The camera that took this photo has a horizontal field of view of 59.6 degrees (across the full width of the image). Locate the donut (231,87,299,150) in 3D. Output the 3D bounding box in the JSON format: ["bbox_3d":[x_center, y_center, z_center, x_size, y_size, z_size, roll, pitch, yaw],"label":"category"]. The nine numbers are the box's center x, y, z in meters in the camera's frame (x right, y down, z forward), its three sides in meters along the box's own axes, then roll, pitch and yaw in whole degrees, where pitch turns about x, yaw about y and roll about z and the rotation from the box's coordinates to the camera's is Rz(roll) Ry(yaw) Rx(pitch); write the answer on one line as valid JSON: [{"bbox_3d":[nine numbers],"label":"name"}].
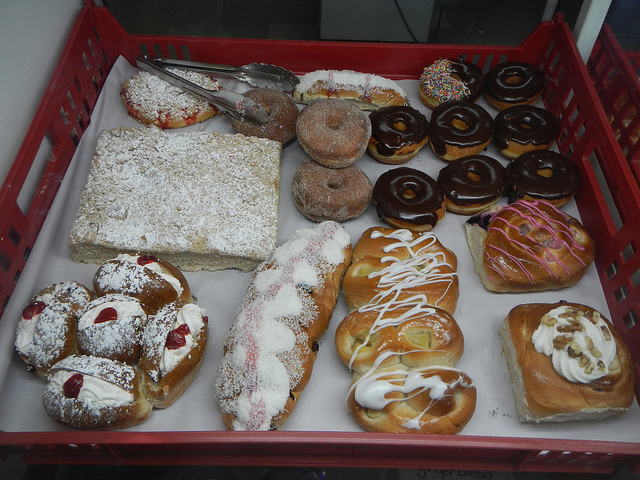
[{"bbox_3d":[-0.342,-0.821,3.608,0.390,0.203,0.397,-34,70,-18],"label":"donut"}]

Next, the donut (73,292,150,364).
[{"bbox_3d":[-1.070,0.465,2.826,0.335,0.155,0.450,-4,33,-2],"label":"donut"}]

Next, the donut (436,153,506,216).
[{"bbox_3d":[0.971,-0.357,3.511,0.412,0.181,0.481,20,50,25],"label":"donut"}]

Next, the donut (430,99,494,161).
[{"bbox_3d":[0.927,-0.741,3.720,0.459,0.188,0.518,14,50,12],"label":"donut"}]

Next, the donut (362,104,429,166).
[{"bbox_3d":[0.505,-0.675,3.661,0.409,0.214,0.380,16,62,5],"label":"donut"}]

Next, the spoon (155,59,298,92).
[{"bbox_3d":[-0.617,-1.200,3.898,0.937,0.146,0.245,7,61,0],"label":"spoon"}]

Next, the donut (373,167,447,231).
[{"bbox_3d":[0.539,-0.251,3.349,0.340,0.139,0.396,-9,58,-11],"label":"donut"}]
